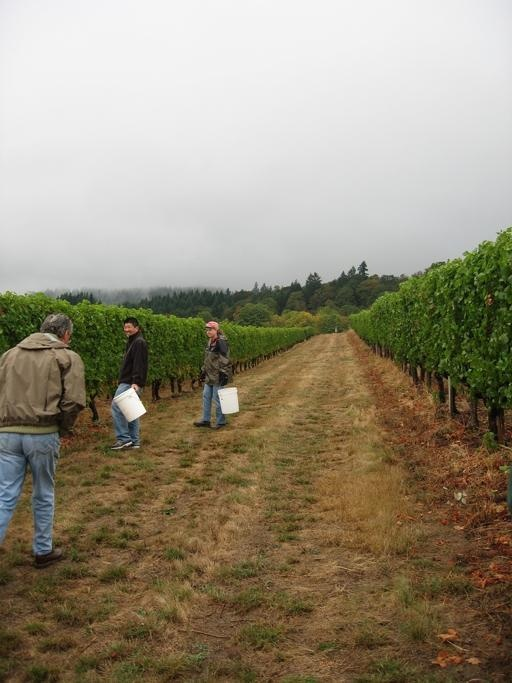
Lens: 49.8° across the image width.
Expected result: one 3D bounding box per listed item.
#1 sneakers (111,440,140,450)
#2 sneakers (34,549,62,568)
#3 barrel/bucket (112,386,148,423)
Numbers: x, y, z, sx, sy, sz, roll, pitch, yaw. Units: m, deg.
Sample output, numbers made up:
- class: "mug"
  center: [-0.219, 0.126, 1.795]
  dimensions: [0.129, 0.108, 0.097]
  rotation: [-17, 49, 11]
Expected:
- class: "sneakers"
  center: [-2.052, 1.663, 8.734]
  dimensions: [0.419, 0.194, 0.155]
  rotation: [6, -14, -12]
- class: "sneakers"
  center: [-1.730, 1.813, 4.630]
  dimensions: [0.096, 0.111, 0.248]
  rotation: [4, 5, 21]
- class: "barrel/bucket"
  center: [-1.910, 0.961, 8.267]
  dimensions: [0.424, 0.466, 0.467]
  rotation: [-2, 0, -18]
